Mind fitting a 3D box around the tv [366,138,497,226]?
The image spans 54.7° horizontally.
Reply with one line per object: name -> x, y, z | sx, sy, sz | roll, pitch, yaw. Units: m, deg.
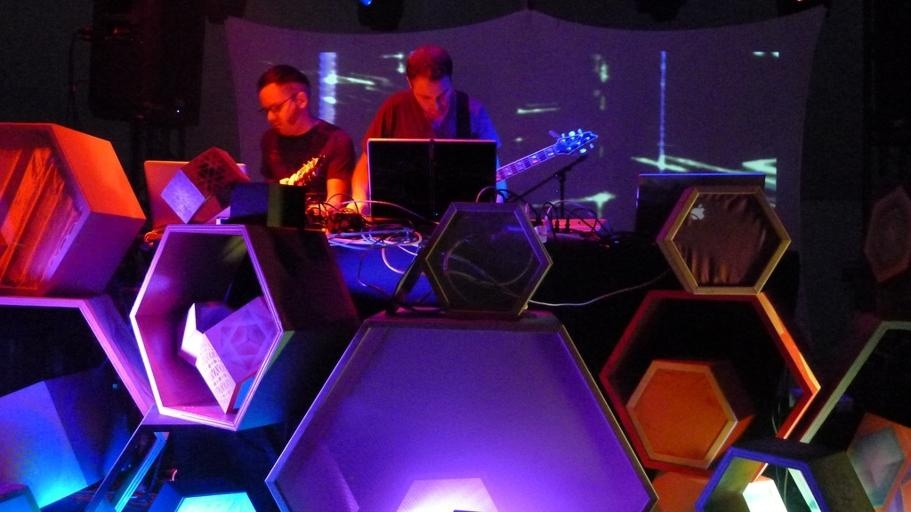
tv -> -0.075, -0.546, 6.411 | 0.928, 0.588, 0.649 | 1, 7, 14

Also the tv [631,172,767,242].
tv -> 1.678, -0.329, 6.137 | 0.416, 0.472, 0.746 | 3, 3, -38

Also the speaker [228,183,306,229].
speaker -> -1.254, -0.341, 5.826 | 0.577, 0.337, 0.296 | 2, 4, 0

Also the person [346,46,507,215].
person -> -0.221, -0.999, 7.904 | 1.435, 1.697, 0.951 | -1, 36, -3
